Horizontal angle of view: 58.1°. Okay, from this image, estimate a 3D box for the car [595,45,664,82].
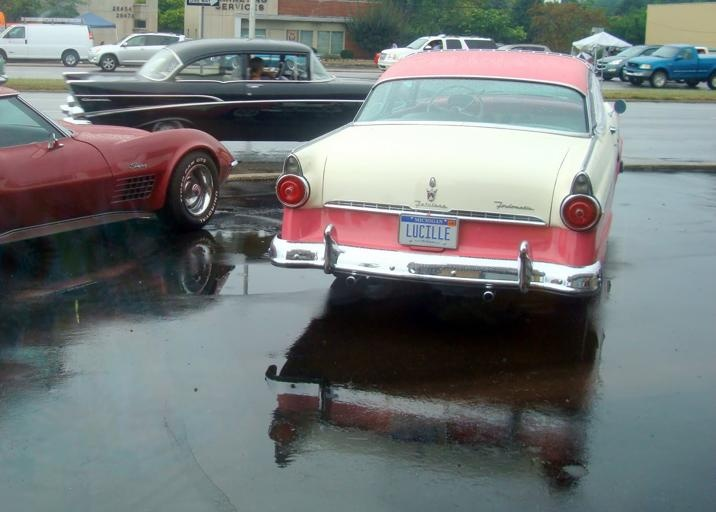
[{"bbox_3d":[14.403,-9.862,33.757,4.132,1.822,1.964,-13,25,-22],"label":"car"}]
